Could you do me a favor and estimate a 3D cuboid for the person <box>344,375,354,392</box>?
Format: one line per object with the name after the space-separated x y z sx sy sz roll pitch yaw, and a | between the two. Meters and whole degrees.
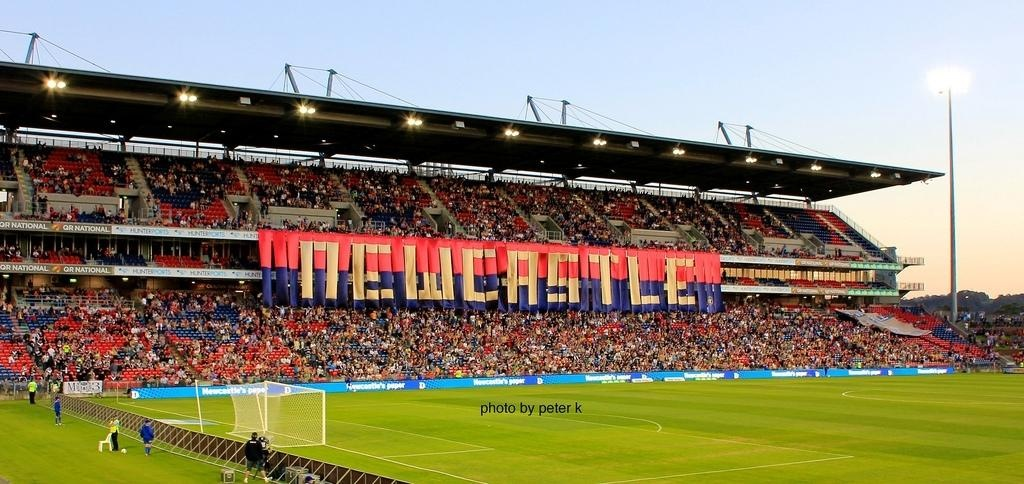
-19.245 16.625 154.198 0.859 1.631 0.556 -2 -5 -12 | person

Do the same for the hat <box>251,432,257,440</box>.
-24.372 18.275 124.185 0.725 0.582 0.687 3 -2 -7 | hat
